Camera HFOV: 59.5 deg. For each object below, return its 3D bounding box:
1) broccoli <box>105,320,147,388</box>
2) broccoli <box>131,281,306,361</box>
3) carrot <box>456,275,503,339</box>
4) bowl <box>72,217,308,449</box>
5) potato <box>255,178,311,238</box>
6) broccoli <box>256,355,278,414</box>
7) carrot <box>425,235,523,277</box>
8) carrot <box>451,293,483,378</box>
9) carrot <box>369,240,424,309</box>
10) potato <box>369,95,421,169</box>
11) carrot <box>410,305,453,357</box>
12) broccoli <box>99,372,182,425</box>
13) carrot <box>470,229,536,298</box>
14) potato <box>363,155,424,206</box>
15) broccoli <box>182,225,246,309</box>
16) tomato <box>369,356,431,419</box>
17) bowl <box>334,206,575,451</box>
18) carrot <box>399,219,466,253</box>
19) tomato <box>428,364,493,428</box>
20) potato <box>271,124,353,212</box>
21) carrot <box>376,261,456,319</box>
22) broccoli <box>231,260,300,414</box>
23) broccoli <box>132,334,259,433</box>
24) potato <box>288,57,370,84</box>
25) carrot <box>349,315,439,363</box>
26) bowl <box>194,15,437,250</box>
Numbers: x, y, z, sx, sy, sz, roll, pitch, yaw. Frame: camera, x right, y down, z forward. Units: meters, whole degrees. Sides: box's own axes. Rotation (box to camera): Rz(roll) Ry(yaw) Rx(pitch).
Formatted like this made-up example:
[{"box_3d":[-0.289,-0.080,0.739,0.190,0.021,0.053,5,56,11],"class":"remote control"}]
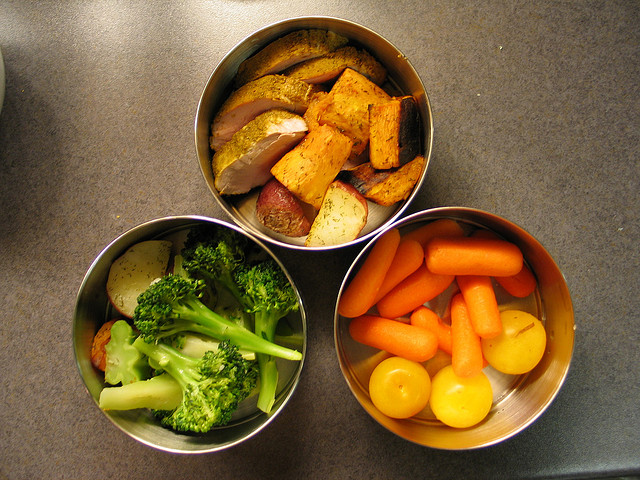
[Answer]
[{"box_3d":[-0.627,0.367,1.834,0.162,0.045,0.178,-22,92,-5],"class":"broccoli"},{"box_3d":[-0.325,0.252,1.737,0.439,0.192,0.281,14,40,2],"class":"broccoli"},{"box_3d":[0.527,0.220,1.833,0.104,0.275,0.103,-7,118,8],"class":"carrot"},{"box_3d":[-0.411,0.291,1.753,0.677,0.353,0.793,3,95,-1],"class":"bowl"},{"box_3d":[-0.125,-0.096,1.860,0.146,0.069,0.194,-37,87,3],"class":"potato"},{"box_3d":[-0.171,0.446,1.763,0.045,0.052,0.188,-3,74,-14],"class":"broccoli"},{"box_3d":[0.491,0.075,1.825,0.282,0.129,0.137,6,85,0],"class":"carrot"},{"box_3d":[0.465,0.314,1.845,0.079,0.080,0.263,-3,70,-2],"class":"carrot"},{"box_3d":[0.258,0.082,1.865,0.109,0.071,0.270,37,99,-17],"class":"carrot"},{"box_3d":[0.238,-0.341,1.792,0.166,0.088,0.211,-5,83,0],"class":"potato"},{"box_3d":[0.358,0.296,1.881,0.085,0.064,0.196,-35,86,-31],"class":"carrot"},{"box_3d":[-0.552,0.486,1.721,0.197,0.096,0.161,1,89,-12],"class":"broccoli"},{"box_3d":[0.621,0.103,1.908,0.128,0.110,0.298,-35,87,5],"class":"carrot"},{"box_3d":[0.238,-0.177,1.799,0.196,0.052,0.117,-29,69,7],"class":"potato"},{"box_3d":[-0.342,0.103,1.798,0.194,0.204,0.183,9,71,-14],"class":"broccoli"},{"box_3d":[0.252,0.471,1.790,0.194,0.058,0.187,-23,83,-2],"class":"tomato"},{"box_3d":[0.414,0.283,1.783,0.739,0.196,0.752,0,83,1],"class":"bowl"},{"box_3d":[0.370,-0.035,1.876,0.207,0.095,0.077,-24,45,11],"class":"carrot"},{"box_3d":[0.450,0.479,1.779,0.171,0.082,0.191,22,85,0],"class":"tomato"},{"box_3d":[0.006,-0.236,1.867,0.118,0.243,0.315,37,70,-16],"class":"potato"},{"box_3d":[0.313,0.152,1.902,0.266,0.089,0.133,-34,91,-2],"class":"carrot"},{"box_3d":[-0.171,0.285,1.796,0.119,0.155,0.316,13,104,14],"class":"broccoli"},{"box_3d":[-0.367,0.421,1.704,0.312,0.168,0.286,34,71,14],"class":"broccoli"},{"box_3d":[0.008,-0.561,1.824,0.214,0.055,0.081,-4,59,9],"class":"potato"},{"box_3d":[0.235,0.313,1.860,0.294,0.122,0.121,15,99,15],"class":"carrot"},{"box_3d":[-0.018,-0.339,1.821,0.749,0.213,0.719,0,83,1],"class":"bowl"}]
